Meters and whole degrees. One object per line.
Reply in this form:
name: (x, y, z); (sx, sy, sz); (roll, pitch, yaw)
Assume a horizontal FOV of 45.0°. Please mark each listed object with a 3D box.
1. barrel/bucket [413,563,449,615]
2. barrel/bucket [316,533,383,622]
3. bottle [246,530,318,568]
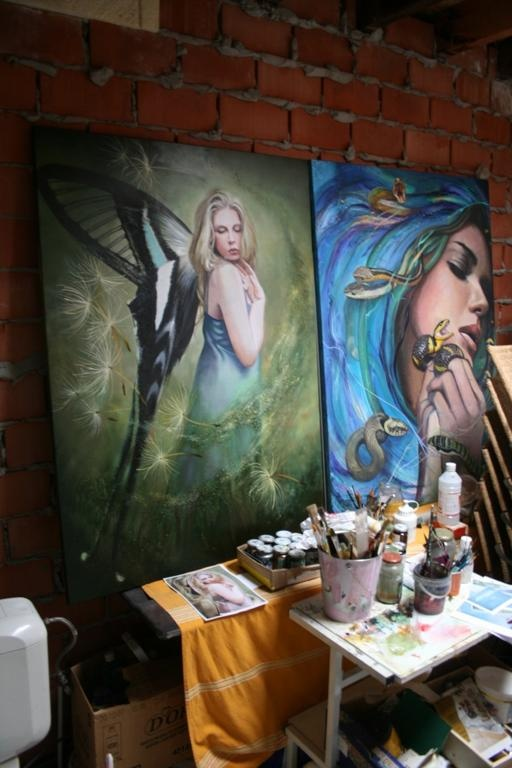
barrel/bucket: (0.429, 0.519, 1.572); (0.101, 0.105, 0.094); (-1, 11, 0)
barrel/bucket: (0.220, 0.488, 1.569); (0.166, 0.183, 0.166); (1, 1, 0)
bottle: (0.079, 0.452, 1.691); (0.104, 0.033, 0.108); (-1, 11, 0)
